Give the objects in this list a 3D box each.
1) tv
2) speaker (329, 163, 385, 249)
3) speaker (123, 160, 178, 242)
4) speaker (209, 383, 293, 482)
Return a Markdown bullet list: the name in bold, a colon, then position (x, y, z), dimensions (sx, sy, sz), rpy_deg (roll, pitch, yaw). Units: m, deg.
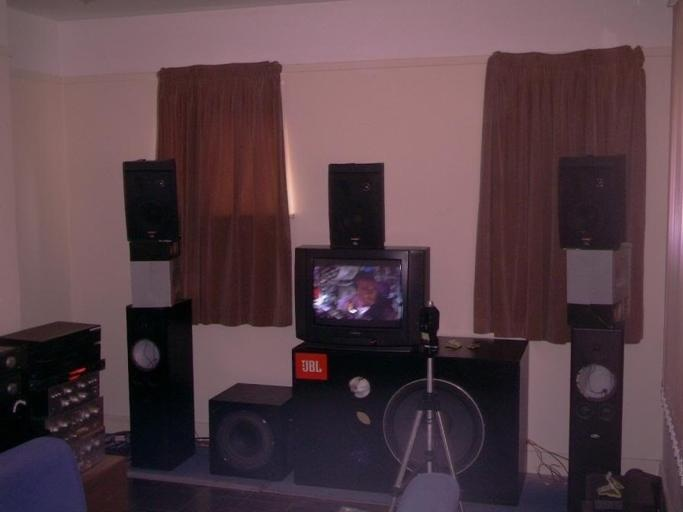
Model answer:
- **tv**: position (0.159, 0.297, 4.637), dimensions (1.215, 0.910, 0.639), rpy_deg (1, 1, 13)
- **speaker**: position (0.113, -0.359, 4.430), dimensions (0.372, 0.586, 0.131), rpy_deg (3, 14, 17)
- **speaker**: position (-1.429, -0.400, 4.658), dimensions (0.384, 0.628, 0.210), rpy_deg (-5, 14, -15)
- **speaker**: position (-0.642, 1.339, 4.907), dimensions (0.584, 0.609, 0.609), rpy_deg (0, 1, 16)
